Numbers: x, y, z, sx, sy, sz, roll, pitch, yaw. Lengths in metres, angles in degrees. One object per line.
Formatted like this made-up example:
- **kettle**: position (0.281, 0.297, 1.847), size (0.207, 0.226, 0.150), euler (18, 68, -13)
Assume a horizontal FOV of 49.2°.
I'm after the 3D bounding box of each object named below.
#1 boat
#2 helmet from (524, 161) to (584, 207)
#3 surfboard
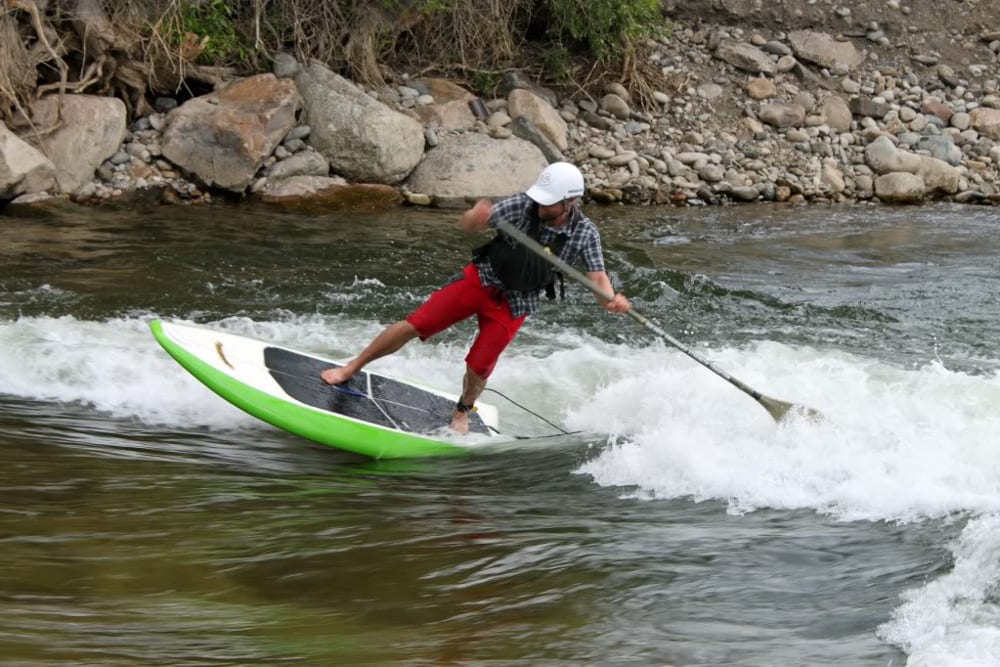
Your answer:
- **boat**: position (-1.502, 0.485, 9.260), size (3.715, 0.464, 1.011), euler (20, 31, -45)
- **helmet**: position (0.537, -1.187, 8.562), size (0.503, 0.206, 0.337), euler (-17, 47, -34)
- **surfboard**: position (-1.465, 0.520, 8.914), size (3.985, 0.405, 0.999), euler (10, 23, -21)
